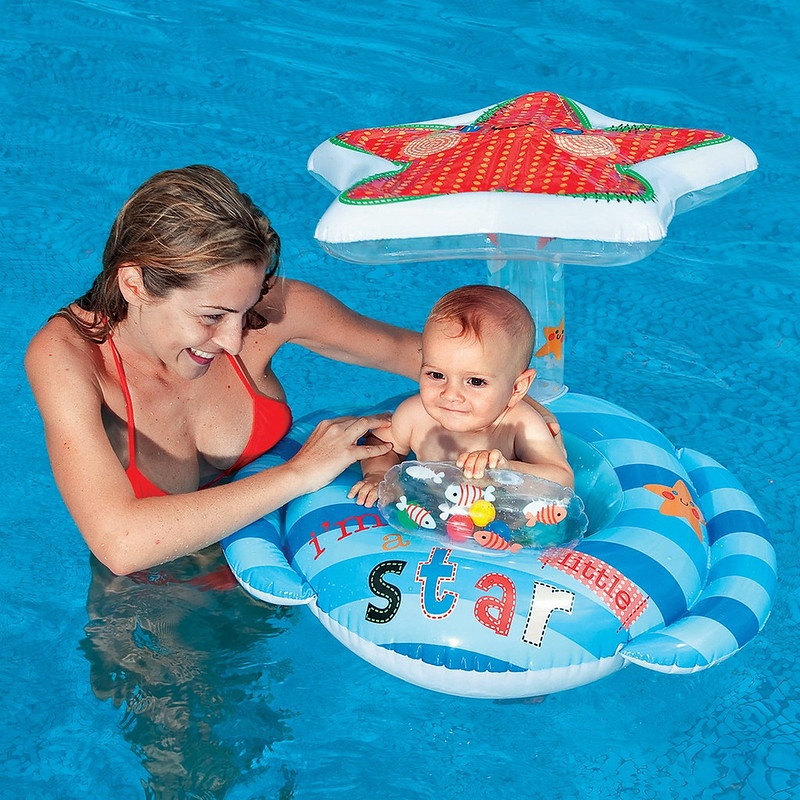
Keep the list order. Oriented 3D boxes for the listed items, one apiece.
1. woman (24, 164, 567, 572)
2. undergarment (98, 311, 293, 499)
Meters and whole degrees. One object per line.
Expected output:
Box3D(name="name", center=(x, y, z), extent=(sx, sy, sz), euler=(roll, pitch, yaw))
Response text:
Box3D(name="woman", center=(-0.572, 0.094, 3.168), extent=(1.523, 1.733, 0.636), euler=(-20, 50, 22))
Box3D(name="undergarment", center=(-0.680, 0.013, 3.007), extent=(0.585, 0.422, 0.196), euler=(-15, 3, -35))
